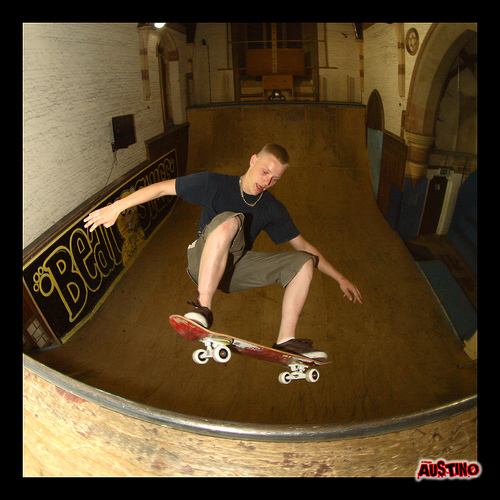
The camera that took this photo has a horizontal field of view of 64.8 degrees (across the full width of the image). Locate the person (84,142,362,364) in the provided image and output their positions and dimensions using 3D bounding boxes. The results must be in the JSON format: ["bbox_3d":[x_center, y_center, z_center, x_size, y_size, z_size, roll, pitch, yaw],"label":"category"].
[{"bbox_3d":[-0.332,0.097,4.054,1.804,1.564,0.957,30,-45,-27],"label":"person"}]

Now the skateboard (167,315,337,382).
[{"bbox_3d":[-0.008,0.866,3.337,0.971,0.212,0.268,27,-24,-13],"label":"skateboard"}]

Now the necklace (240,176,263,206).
[{"bbox_3d":[0.003,-0.463,3.066,0.112,0.224,0.051,2,-5,-9],"label":"necklace"}]
